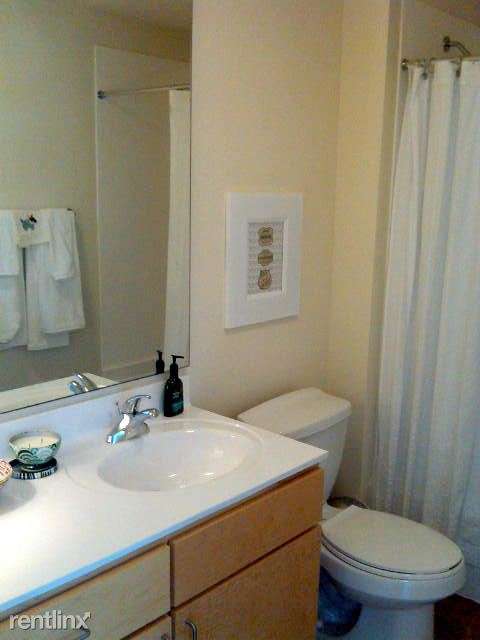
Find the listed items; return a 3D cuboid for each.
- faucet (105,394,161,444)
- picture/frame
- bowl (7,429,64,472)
[{"bbox_3d":[-0.270,0.249,1.320,0.061,0.143,0.185,-1,-1,41],"label":"faucet"},{"bbox_3d":[0.062,-0.210,1.774,0.031,0.494,0.413,8,11,37],"label":"picture/frame"},{"bbox_3d":[-0.443,0.289,1.155,0.104,0.067,0.118,-2,8,-26],"label":"bowl"}]
